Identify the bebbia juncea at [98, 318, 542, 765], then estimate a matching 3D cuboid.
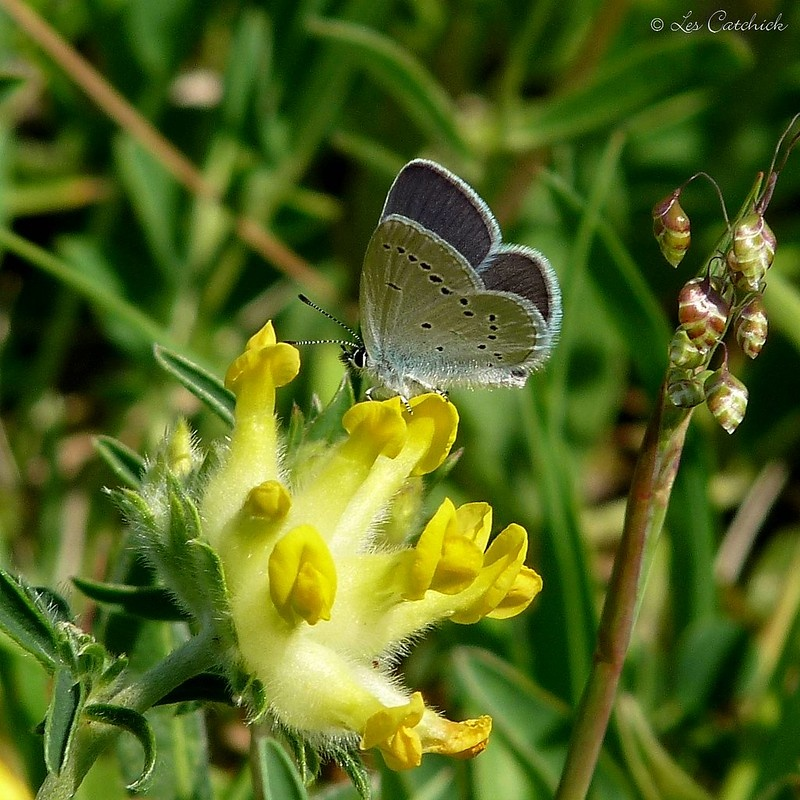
[{"bbox_3d":[-0.122,0.239,1.636,0.528,0.359,0.754,23,43,-22],"label":"bebbia juncea"}]
